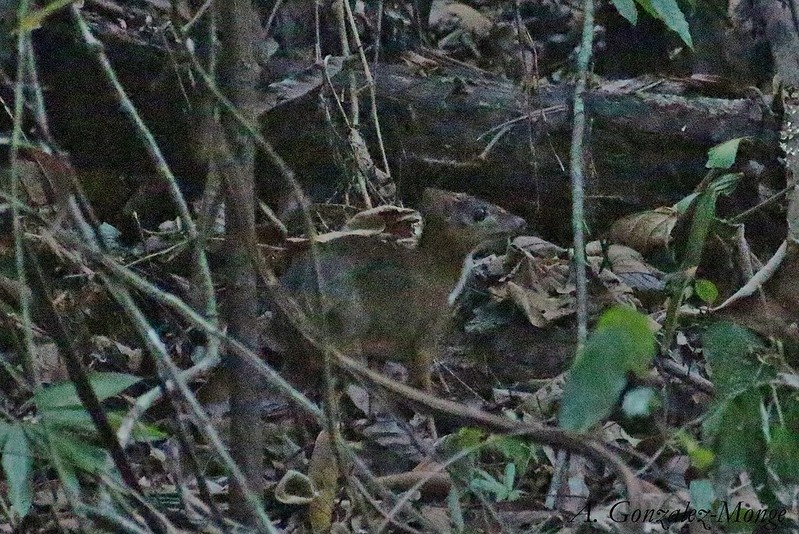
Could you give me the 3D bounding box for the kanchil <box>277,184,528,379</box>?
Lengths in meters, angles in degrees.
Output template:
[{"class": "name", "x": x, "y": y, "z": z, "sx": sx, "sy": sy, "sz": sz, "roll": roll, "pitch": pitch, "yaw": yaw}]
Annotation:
[{"class": "kanchil", "x": -0.012, "y": 0.002, "z": 2.499, "sx": 0.348, "sy": 0.150, "sz": 0.399, "roll": 23, "pitch": 58, "yaw": 15}]
